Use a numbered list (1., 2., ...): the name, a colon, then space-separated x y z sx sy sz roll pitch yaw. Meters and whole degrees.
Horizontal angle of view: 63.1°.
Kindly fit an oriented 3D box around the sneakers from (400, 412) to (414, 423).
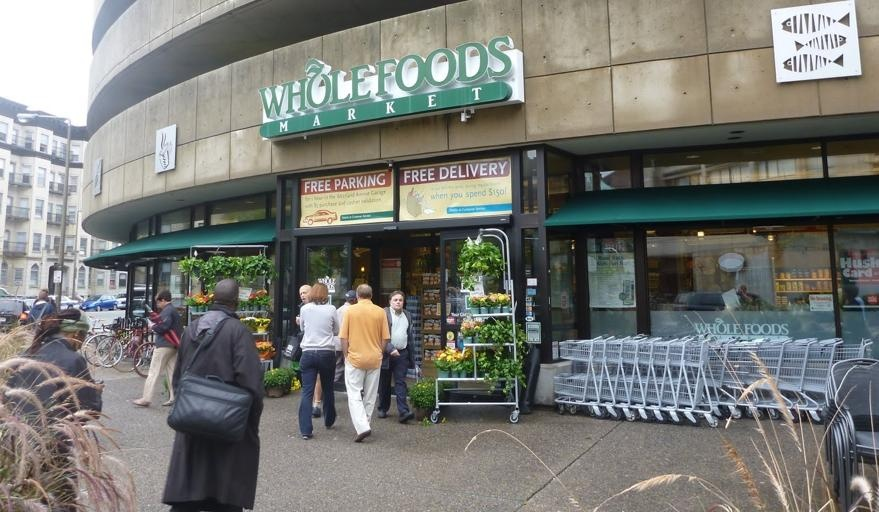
1. sneakers: -0.689 3.530 15.498 0.340 0.146 0.152 -21 -23 38

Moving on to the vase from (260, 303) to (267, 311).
1. vase: -4.409 1.315 17.895 0.151 0.140 0.148 1 1 9

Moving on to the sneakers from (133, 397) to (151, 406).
1. sneakers: -6.900 3.400 16.535 0.348 0.139 0.185 13 -7 -12

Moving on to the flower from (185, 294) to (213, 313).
1. flower: -5.967 1.197 17.714 0.503 0.392 0.544 2 0 17

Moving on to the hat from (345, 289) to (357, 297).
1. hat: -1.997 0.895 16.191 0.209 0.154 0.275 14 -4 3

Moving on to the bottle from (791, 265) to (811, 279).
1. bottle: 8.384 0.392 16.414 0.398 0.231 0.104 3 13 20

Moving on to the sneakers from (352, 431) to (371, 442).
1. sneakers: -1.586 3.693 14.493 0.156 0.178 0.425 3 -27 -45

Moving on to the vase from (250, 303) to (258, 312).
1. vase: -4.619 1.295 17.792 0.161 0.154 0.157 0 -7 -3

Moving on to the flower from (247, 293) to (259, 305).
1. flower: -4.618 1.084 17.818 0.285 0.161 0.280 -3 1 -12

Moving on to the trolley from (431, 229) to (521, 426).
1. trolley: 0.957 1.495 16.090 2.002 3.968 2.292 0 12 7

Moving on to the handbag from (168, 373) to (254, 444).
1. handbag: -3.583 2.444 11.319 0.990 0.824 0.372 12 -10 2

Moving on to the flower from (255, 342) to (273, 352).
1. flower: -4.352 2.246 17.675 0.406 0.219 0.379 1 -4 30

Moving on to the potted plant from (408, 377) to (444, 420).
1. potted plant: -0.338 3.186 15.856 0.798 0.776 0.737 3 -13 -9

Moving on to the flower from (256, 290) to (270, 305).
1. flower: -4.436 1.059 17.930 0.351 0.297 0.343 -1 1 5
